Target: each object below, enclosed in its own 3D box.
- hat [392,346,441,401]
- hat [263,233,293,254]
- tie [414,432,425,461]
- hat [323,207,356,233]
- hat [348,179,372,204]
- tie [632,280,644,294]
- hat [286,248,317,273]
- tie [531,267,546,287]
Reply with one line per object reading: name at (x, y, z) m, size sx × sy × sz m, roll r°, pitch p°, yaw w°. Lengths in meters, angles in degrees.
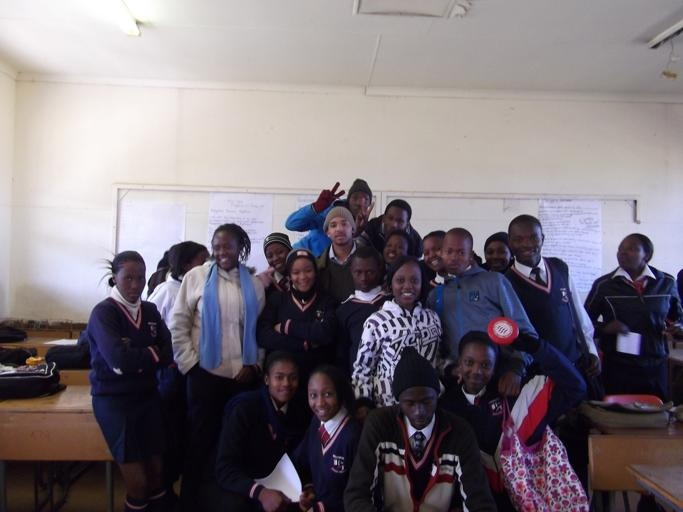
hat at (0.416, 0.641, 3.055) m, size 0.210 × 0.237 × 0.290 m, roll -6°, pitch -15°, yaw -3°
hat at (-0.464, -0.102, 3.979) m, size 0.129 × 0.139 × 0.179 m, roll -3°, pitch -31°, yaw -1°
tie at (0.433, 1.037, 3.021) m, size 0.049 × 0.193 × 0.042 m, roll -3°, pitch -15°, yaw 31°
hat at (-0.015, -0.264, 3.844) m, size 0.173 × 0.138 × 0.176 m, roll 0°, pitch -9°, yaw -3°
hat at (0.136, -0.513, 4.236) m, size 0.181 × 0.181 × 0.271 m, roll 0°, pitch 2°, yaw -1°
tie at (2.279, 0.234, 4.184) m, size 0.072 × 0.104 × 0.052 m, roll 1°, pitch 2°, yaw 29°
hat at (-0.271, 0.019, 3.660) m, size 0.158 × 0.124 × 0.162 m, roll -19°, pitch -44°, yaw 2°
tie at (1.303, 0.136, 3.610) m, size 0.105 × 0.126 × 0.033 m, roll 0°, pitch 2°, yaw 19°
